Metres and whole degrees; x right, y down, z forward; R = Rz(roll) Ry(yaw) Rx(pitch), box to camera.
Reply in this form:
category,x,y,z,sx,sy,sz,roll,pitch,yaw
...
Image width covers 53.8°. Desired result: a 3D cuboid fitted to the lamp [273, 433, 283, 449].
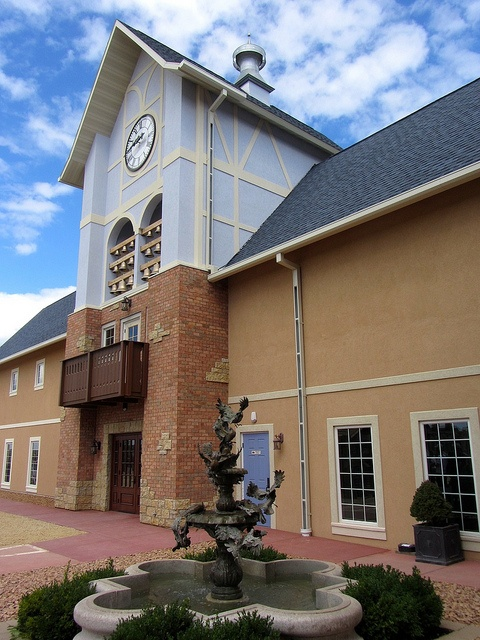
category,x,y,z,sx,sy,sz,roll,pitch,yaw
lamp,0.807,2.605,10.158,0.134,0.337,0.278,14,-23,-41

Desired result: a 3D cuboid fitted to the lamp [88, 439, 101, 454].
category,x,y,z,sx,sy,sz,roll,pitch,yaw
lamp,-4.385,3.837,14.337,0.207,0.444,0.422,10,-20,-32

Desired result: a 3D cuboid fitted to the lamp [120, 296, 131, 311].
category,x,y,z,sx,sy,sz,roll,pitch,yaw
lamp,-3.251,-0.467,13.529,0.256,0.384,0.471,7,-19,-24

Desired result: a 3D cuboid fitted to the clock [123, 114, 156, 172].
category,x,y,z,sx,sy,sz,roll,pitch,yaw
clock,-3.084,-5.401,14.476,0.054,1.780,1.718,26,-42,7
